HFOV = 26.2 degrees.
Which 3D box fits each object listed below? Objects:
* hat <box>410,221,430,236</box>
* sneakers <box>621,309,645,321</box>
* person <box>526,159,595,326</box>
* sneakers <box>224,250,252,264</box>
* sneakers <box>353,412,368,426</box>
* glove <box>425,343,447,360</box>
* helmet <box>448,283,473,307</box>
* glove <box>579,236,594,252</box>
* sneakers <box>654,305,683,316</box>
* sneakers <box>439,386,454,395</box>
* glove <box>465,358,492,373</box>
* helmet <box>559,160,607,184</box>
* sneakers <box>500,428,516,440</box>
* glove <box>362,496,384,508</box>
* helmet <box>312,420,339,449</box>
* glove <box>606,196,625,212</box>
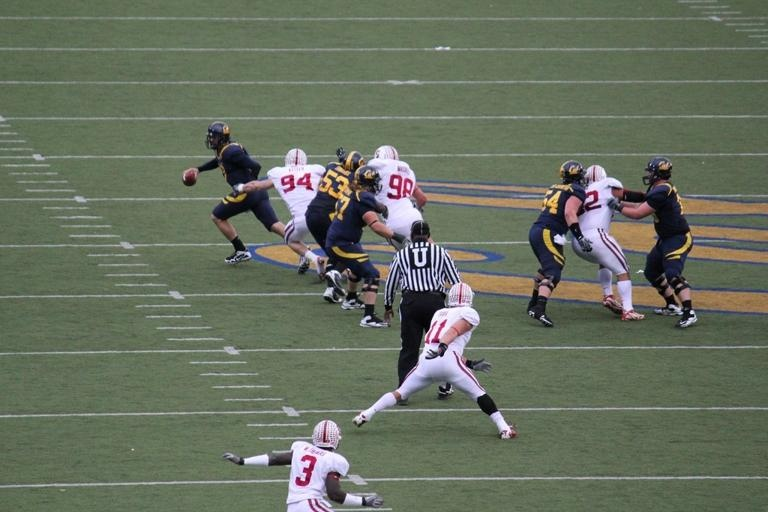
[{"bbox_3d":[0.501,-0.385,22.753,0.235,0.194,0.364,-1,10,-2],"label":"hat"},{"bbox_3d":[3.753,0.902,25.003,0.433,0.117,0.130,-3,17,-15],"label":"sneakers"},{"bbox_3d":[2.647,-0.197,25.038,0.898,2.409,1.349,0,14,5],"label":"person"},{"bbox_3d":[-2.314,0.016,27.117,0.627,0.129,0.234,-4,-16,1],"label":"sneakers"},{"bbox_3d":[-0.295,2.167,21.899,0.266,0.137,0.111,-16,-9,27],"label":"sneakers"},{"bbox_3d":[0.690,1.242,21.717,0.298,0.250,0.138,3,14,17],"label":"glove"},{"bbox_3d":[1.020,0.519,22.136,0.373,0.239,0.378,4,2,2],"label":"helmet"},{"bbox_3d":[3.053,-0.180,24.841,0.280,0.180,0.104,11,-25,-21],"label":"glove"},{"bbox_3d":[4.418,0.828,25.347,0.500,0.137,0.142,2,6,5],"label":"sneakers"},{"bbox_3d":[0.868,1.873,22.910,0.220,0.161,0.078,-6,15,-27],"label":"sneakers"},{"bbox_3d":[1.285,1.471,22.427,0.327,0.154,0.360,0,10,4],"label":"glove"},{"bbox_3d":[3.110,-1.281,25.303,0.770,0.229,0.383,-2,8,-20],"label":"helmet"},{"bbox_3d":[1.649,2.341,21.859,0.198,0.093,0.210,-2,-2,8],"label":"sneakers"},{"bbox_3d":[-0.143,2.937,19.811,0.268,0.166,0.206,-1,11,-5],"label":"glove"},{"bbox_3d":[-0.695,2.145,20.108,0.425,0.248,0.385,7,10,6],"label":"helmet"},{"bbox_3d":[3.524,-0.784,25.108,0.309,0.078,0.190,11,8,-18],"label":"glove"}]
